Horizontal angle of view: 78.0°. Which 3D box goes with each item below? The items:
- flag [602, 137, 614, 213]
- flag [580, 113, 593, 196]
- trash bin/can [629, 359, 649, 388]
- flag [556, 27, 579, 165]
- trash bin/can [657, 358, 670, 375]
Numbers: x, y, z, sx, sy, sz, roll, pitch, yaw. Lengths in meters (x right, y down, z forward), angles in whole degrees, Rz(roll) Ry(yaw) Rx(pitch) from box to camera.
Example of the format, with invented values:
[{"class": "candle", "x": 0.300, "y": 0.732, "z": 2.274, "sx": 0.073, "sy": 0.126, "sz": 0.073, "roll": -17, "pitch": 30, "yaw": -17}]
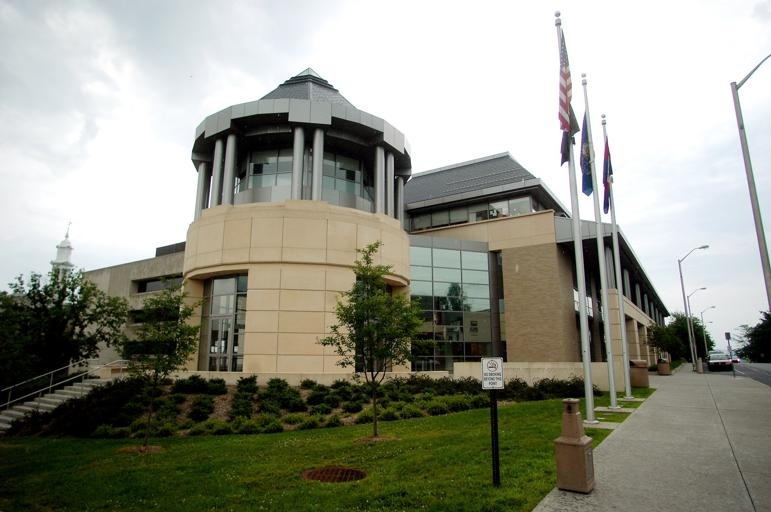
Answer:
[{"class": "flag", "x": 11.172, "y": -4.118, "z": 24.140, "sx": 0.452, "sy": 3.946, "sz": 2.874, "roll": -4, "pitch": -6, "yaw": 25}, {"class": "flag", "x": 8.941, "y": -4.569, "z": 21.314, "sx": 0.473, "sy": 3.644, "sz": 0.885, "roll": -4, "pitch": -6, "yaw": 23}, {"class": "trash bin/can", "x": 15.973, "y": 7.444, "z": 30.168, "sx": 1.081, "sy": 1.871, "sz": 2.057, "roll": -8, "pitch": -13, "yaw": 35}, {"class": "flag", "x": 7.226, "y": -6.472, "z": 19.120, "sx": 0.697, "sy": 5.489, "sz": 1.247, "roll": -4, "pitch": -6, "yaw": 21}, {"class": "trash bin/can", "x": 25.489, "y": 10.242, "z": 44.132, "sx": 1.265, "sy": 1.743, "sz": 1.563, "roll": -9, "pitch": -13, "yaw": 38}]
